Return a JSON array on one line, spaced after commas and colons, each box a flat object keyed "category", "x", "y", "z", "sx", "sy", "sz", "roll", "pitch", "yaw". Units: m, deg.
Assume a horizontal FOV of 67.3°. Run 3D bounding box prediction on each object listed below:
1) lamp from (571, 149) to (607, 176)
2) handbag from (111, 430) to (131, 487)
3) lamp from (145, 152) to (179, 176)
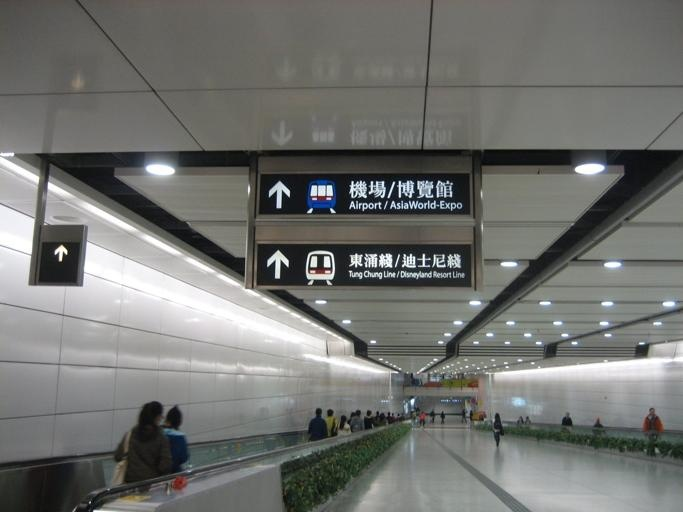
[{"category": "lamp", "x": 2.292, "y": -0.895, "z": 4.896, "sx": 0.245, "sy": 0.162, "sz": 0.244, "roll": 2, "pitch": -6, "yaw": -38}, {"category": "handbag", "x": -2.307, "y": 2.162, "z": 5.481, "sx": 0.145, "sy": 0.530, "sz": 0.334, "roll": 6, "pitch": -16, "yaw": -20}, {"category": "lamp", "x": -1.791, "y": -0.918, "z": 5.165, "sx": 0.220, "sy": 0.115, "sz": 0.229, "roll": 2, "pitch": -10, "yaw": -12}]
